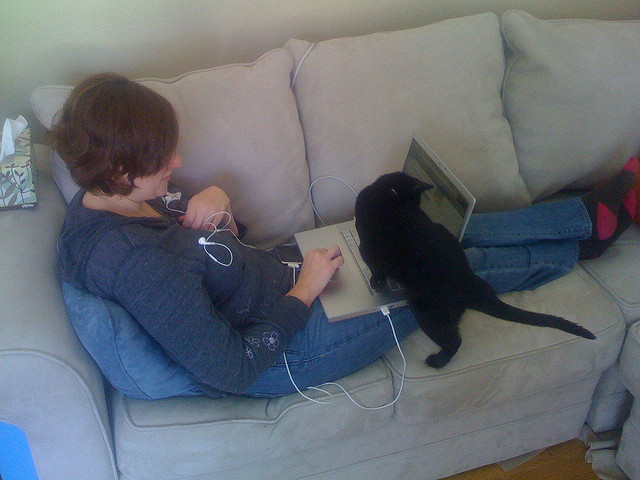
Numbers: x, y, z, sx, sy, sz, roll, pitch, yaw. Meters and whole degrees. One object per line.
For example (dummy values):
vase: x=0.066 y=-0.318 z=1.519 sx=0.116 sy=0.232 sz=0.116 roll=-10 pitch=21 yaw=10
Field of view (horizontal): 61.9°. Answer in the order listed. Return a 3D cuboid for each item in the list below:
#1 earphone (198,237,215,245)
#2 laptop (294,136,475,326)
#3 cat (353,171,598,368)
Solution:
earphone: x=-0.311 y=-0.001 z=1.471 sx=0.043 sy=0.018 sz=0.023 roll=-3 pitch=65 yaw=-22
laptop: x=0.156 y=-0.051 z=1.536 sx=0.463 sy=0.313 sz=0.457 roll=-4 pitch=40 yaw=-2
cat: x=0.364 y=0.136 z=1.590 sx=0.762 sy=0.348 sz=0.266 roll=41 pitch=32 yaw=8
